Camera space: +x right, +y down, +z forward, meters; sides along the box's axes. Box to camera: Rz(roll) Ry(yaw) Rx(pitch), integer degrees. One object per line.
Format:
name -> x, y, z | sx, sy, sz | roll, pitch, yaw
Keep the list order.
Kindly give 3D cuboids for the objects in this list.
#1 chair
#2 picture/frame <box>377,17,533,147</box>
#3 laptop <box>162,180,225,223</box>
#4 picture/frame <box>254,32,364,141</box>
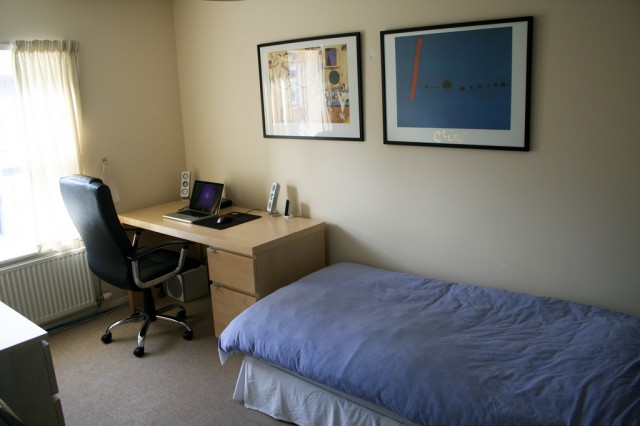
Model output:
chair -> -1.614, 0.404, 3.990 | 0.847, 1.485, 0.985 | 8, 14, 27
picture/frame -> 1.016, -0.963, 3.283 | 1.017, 0.789, 0.046 | 5, 14, 30
laptop -> -1.167, -0.113, 4.216 | 0.520, 0.281, 0.525 | -12, 18, -30
picture/frame -> -0.060, -1.063, 3.914 | 1.072, 0.835, 0.049 | -13, 19, -33
